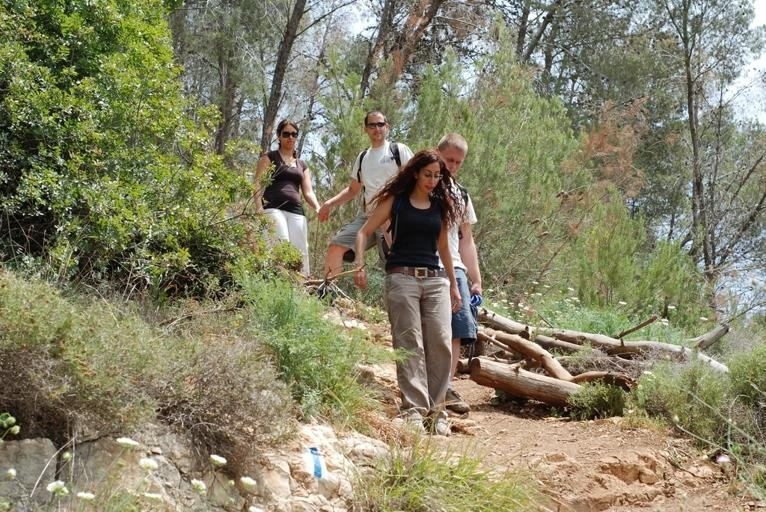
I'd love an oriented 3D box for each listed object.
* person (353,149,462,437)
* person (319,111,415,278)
[{"bbox_3d":[0.297,0.244,6.577,1.026,1.831,0.644,8,5,0],"label":"person"},{"bbox_3d":[-0.189,-0.589,7.688,1.070,2.523,0.973,-2,-18,7],"label":"person"}]
